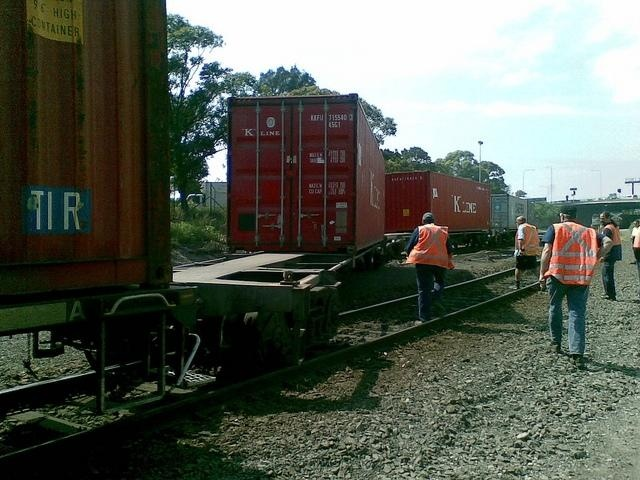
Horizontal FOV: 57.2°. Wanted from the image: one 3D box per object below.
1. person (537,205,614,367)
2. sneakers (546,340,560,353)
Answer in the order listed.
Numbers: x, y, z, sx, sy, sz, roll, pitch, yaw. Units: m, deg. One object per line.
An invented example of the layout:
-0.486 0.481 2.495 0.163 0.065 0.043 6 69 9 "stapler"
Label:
3.163 0.526 7.487 0.713 1.896 0.999 5 9 25 "person"
3.093 1.403 7.769 0.096 0.145 0.145 2 3 36 "sneakers"
